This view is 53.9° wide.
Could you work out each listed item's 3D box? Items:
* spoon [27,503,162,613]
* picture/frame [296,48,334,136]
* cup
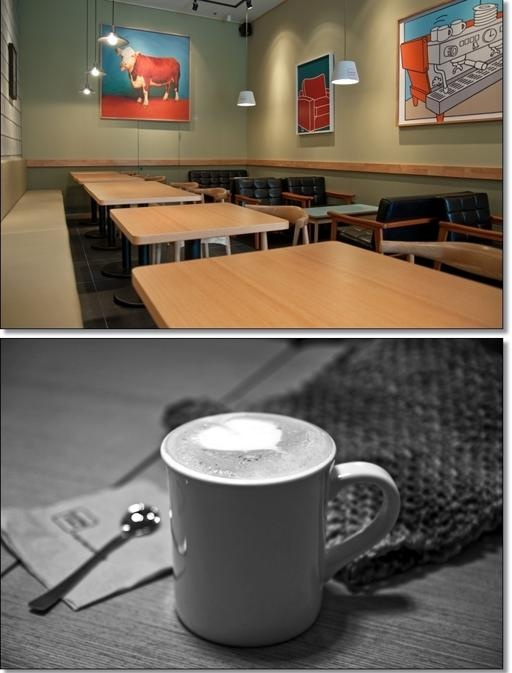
[{"bbox_3d":[-0.158,0.217,0.508,0.045,0.019,0.173,22,28,15],"label":"spoon"},{"bbox_3d":[0.381,-1.561,3.252,0.090,0.468,0.506,-6,16,-17],"label":"picture/frame"},{"bbox_3d":[0.012,0.145,0.470,0.186,0.181,0.140,-1,10,-8],"label":"cup"}]
